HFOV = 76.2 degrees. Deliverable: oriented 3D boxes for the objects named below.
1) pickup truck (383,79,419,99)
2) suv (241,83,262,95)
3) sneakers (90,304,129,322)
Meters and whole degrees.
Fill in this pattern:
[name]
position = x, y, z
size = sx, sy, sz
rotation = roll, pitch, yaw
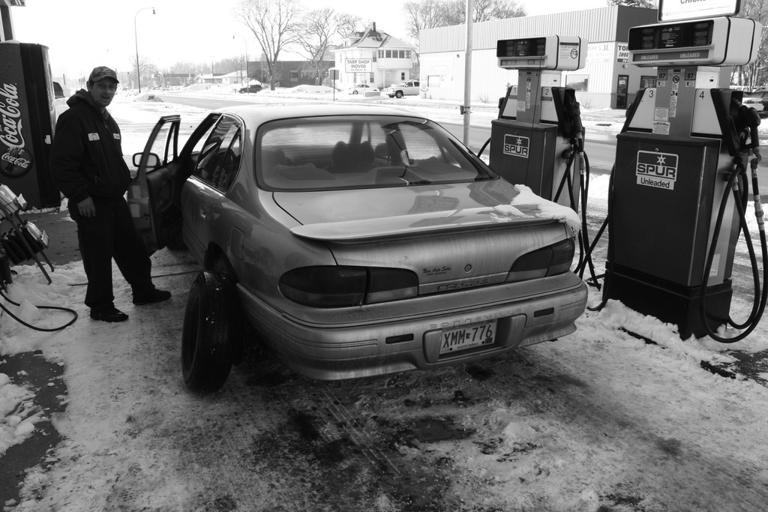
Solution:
[pickup truck]
position = 1.988, -16.824, 49.580
size = 3.261, 1.323, 5.647
rotation = -1, 21, 4
[suv]
position = -20.786, -25.988, 75.992
size = 2.289, 0.851, 7.709
rotation = -4, 21, -6
[sneakers]
position = -2.621, 0.540, 4.724
size = 0.384, 0.171, 0.151
rotation = 1, 11, -4
